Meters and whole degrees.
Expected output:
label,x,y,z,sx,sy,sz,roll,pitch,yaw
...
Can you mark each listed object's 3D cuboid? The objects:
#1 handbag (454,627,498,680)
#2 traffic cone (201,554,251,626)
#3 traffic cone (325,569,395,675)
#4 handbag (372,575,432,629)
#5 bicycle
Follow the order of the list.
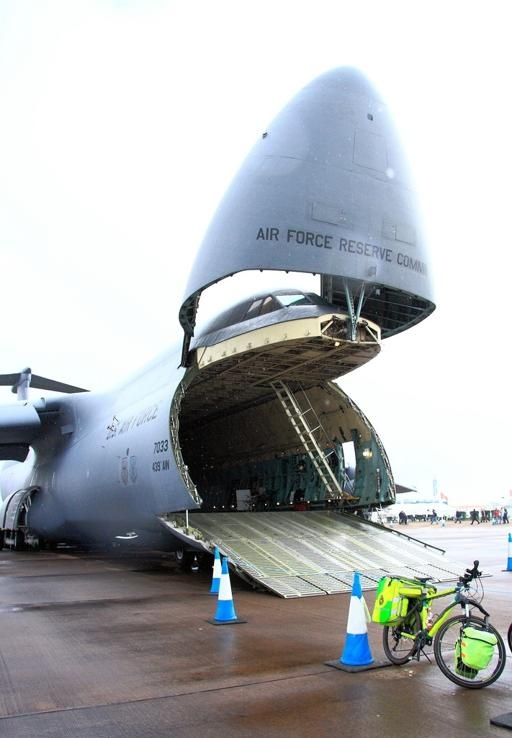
label,x,y,z,sx,sy,sz,roll,pitch,yaw
handbag,1.582,2.076,4.187,0.236,0.323,0.306,6,-1,7
traffic cone,-0.382,2.734,7.121,0.716,0.737,0.698,8,-17,-32
traffic cone,0.883,2.196,5.087,0.643,0.698,0.615,4,-15,-8
handbag,1.234,1.941,4.860,0.472,0.431,0.369,7,-21,4
bicycle,1.437,1.993,4.545,0.550,0.841,1.107,7,-2,-29
